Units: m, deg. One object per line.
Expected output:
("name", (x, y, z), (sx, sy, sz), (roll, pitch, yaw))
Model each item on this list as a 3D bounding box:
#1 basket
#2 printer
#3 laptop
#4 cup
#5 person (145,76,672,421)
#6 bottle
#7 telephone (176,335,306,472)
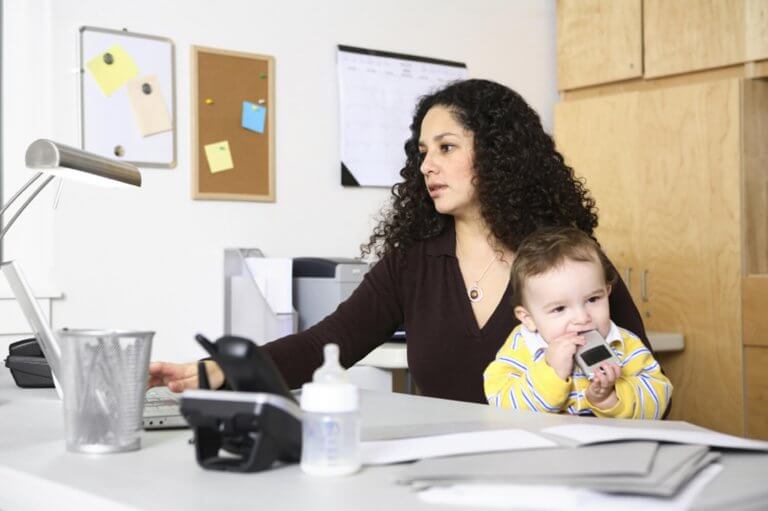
("basket", (-0.384, 0.200, 1.052), (0.164, 0.183, 0.170), (1, -7, -8))
("printer", (-0.230, 0.135, 2.408), (0.193, 0.369, 0.347), (-1, 2, -44))
("laptop", (-0.487, 0.156, 1.204), (0.316, 0.220, 0.311), (2, -4, -20))
("cup", (-0.429, 0.206, 1.017), (0.143, 0.172, 0.152), (-2, -8, 0))
("person", (-0.147, -0.033, 2.270), (0.971, 1.439, 1.092), (4, -14, -30))
("bottle", (-0.073, 0.236, 0.911), (0.081, 0.128, 0.049), (-1, 4, -6))
("telephone", (-0.202, 0.215, 1.009), (0.149, 0.212, 0.202), (-3, -2, 32))
